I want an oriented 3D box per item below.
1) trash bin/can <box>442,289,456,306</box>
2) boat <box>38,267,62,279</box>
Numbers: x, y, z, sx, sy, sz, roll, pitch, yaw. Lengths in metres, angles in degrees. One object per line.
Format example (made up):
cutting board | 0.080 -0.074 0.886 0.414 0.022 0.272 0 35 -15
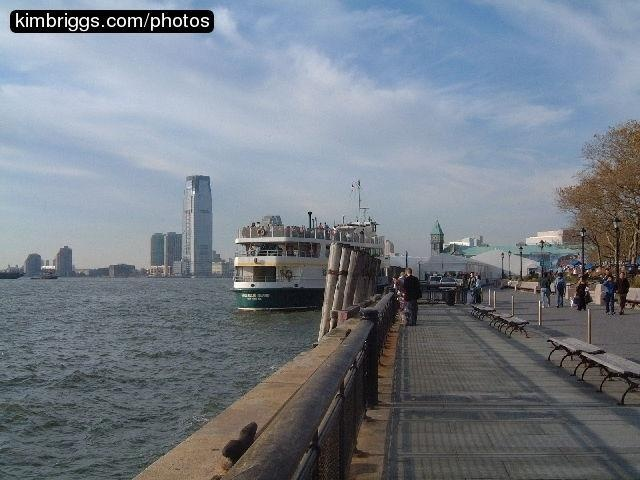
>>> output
trash bin/can | 7.288 3.204 34.406 0.830 1.036 0.909 -1 1 12
boat | -108.904 13.257 245.782 5.979 4.545 40.346 -2 -2 -25
